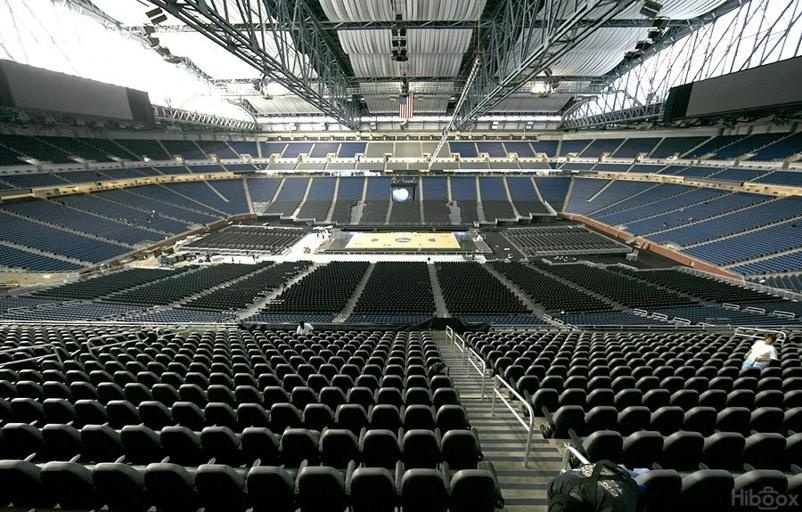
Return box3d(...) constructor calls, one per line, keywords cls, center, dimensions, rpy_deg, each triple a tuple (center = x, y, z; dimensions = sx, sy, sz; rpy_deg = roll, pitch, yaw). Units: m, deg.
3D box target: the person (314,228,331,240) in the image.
box3d(cls="person", center=(-7.110, -1.886, 38.333), dimensions=(1.476, 1.173, 0.282), rpy_deg=(1, -70, -1))
